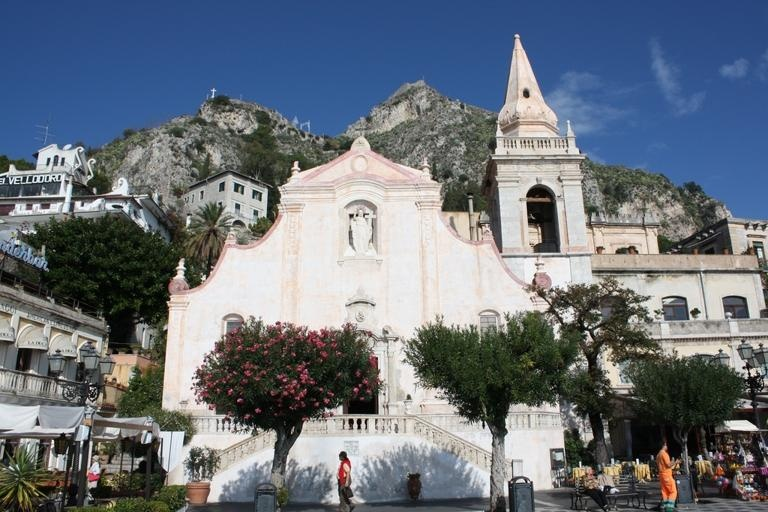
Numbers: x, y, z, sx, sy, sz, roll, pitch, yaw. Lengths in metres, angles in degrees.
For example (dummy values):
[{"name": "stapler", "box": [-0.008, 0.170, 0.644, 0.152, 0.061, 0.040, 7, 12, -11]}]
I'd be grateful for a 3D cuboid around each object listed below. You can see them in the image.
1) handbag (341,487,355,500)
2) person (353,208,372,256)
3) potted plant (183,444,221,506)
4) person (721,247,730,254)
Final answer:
[{"name": "handbag", "box": [-1.454, 9.498, 22.856, 0.488, 0.423, 0.243, 15, -25, -34]}, {"name": "person", "box": [-1.394, -1.572, 34.646, 1.212, 2.979, 0.502, 1, -21, -2]}, {"name": "potted plant", "box": [-8.786, 10.398, 27.105, 1.470, 2.600, 2.472, 7, -22, -17]}, {"name": "person", "box": [34.483, -0.685, 57.002, 0.724, 0.869, 0.646, -1, -1, 12]}]
